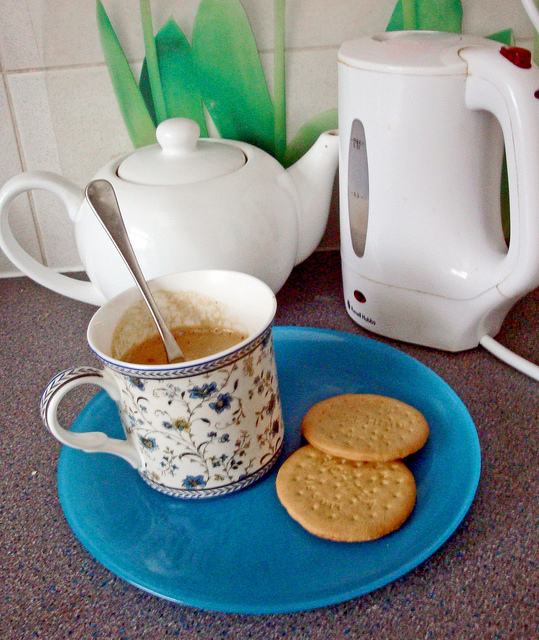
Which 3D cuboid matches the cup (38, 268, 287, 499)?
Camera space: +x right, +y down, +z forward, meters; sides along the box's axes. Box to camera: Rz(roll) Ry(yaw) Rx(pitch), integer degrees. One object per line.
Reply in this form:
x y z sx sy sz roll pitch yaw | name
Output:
-0.058 0.047 0.373 0.109 0.106 0.142 17 35 36 | cup

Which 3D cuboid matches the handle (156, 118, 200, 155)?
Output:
-0.075 -0.148 0.488 0.029 0.024 0.032 -2 24 -2 | handle

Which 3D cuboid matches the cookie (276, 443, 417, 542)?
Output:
0.047 0.097 0.362 0.088 0.008 0.096 -2 21 -1 | cookie

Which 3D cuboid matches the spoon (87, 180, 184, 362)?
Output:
-0.091 -0.039 0.431 0.021 0.150 0.014 -22 -1 -25 | spoon
